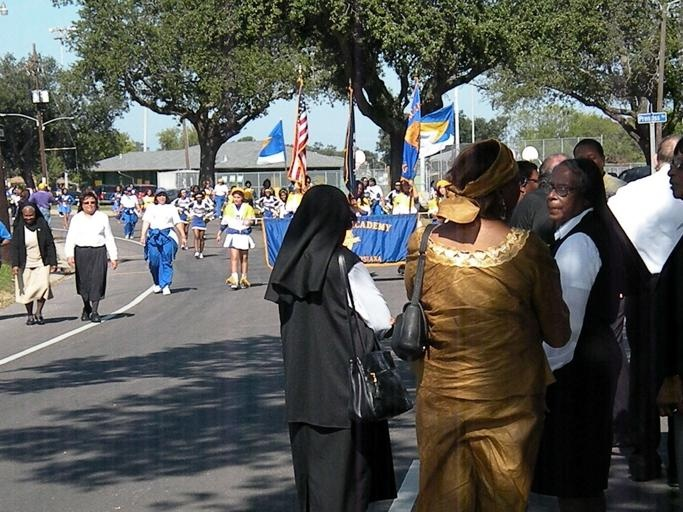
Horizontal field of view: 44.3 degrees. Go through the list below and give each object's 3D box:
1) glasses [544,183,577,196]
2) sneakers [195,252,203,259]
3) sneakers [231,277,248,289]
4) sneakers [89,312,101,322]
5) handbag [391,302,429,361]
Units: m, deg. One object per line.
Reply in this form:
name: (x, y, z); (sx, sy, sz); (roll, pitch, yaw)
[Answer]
glasses: (1.365, -0.415, 5.267); (0.176, 0.061, 0.169); (9, -5, -42)
sneakers: (-4.271, 0.017, 25.443); (0.164, 0.161, 0.346); (2, -13, -9)
sneakers: (-2.113, 0.621, 17.776); (0.142, 0.216, 0.447); (-1, -16, 12)
sneakers: (-3.979, 1.026, 13.772); (0.092, 0.127, 0.281); (2, -8, -22)
handbag: (0.350, 0.406, 4.389); (0.188, 0.326, 0.184); (-1, 5, -2)
